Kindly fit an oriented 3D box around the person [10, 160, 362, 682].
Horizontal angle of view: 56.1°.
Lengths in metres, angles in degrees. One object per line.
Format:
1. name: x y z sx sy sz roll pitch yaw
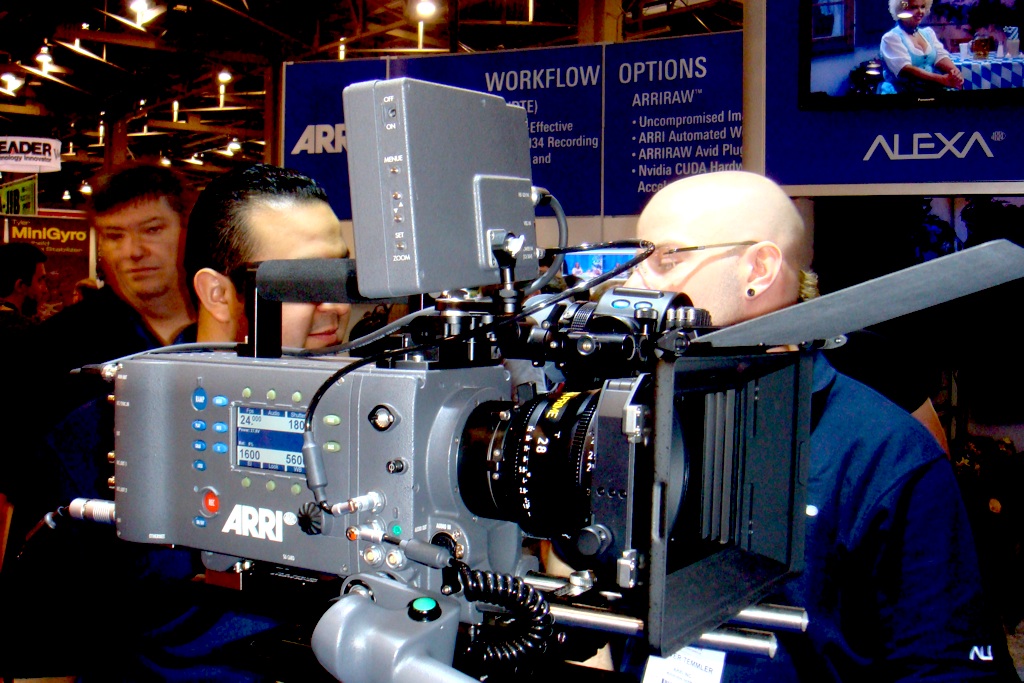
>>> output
1. person: -0.994 0.209 2.839 1.063 1.450 0.800 -2 10 -4
